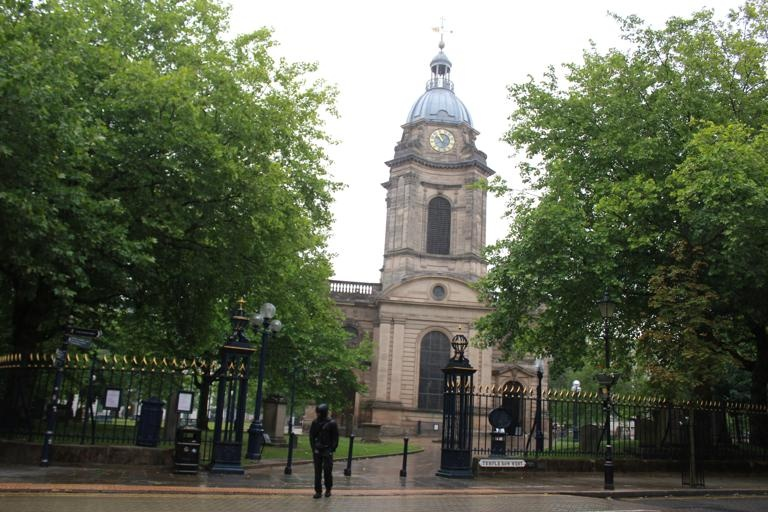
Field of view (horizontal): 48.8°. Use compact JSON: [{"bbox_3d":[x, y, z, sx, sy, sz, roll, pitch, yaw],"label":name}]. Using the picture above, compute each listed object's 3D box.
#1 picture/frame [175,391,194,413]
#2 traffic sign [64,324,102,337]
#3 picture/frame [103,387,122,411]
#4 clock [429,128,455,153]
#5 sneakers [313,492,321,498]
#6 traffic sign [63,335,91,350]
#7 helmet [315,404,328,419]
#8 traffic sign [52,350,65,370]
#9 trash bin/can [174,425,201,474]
[{"bbox_3d":[-7.219,5.264,30.552,0.814,0.950,0.737,4,-17,-15],"label":"picture/frame"},{"bbox_3d":[-10.779,2.658,30.179,1.183,0.425,0.924,7,-17,-18],"label":"traffic sign"},{"bbox_3d":[-9.723,5.109,30.261,0.534,0.770,0.690,8,-17,-18],"label":"picture/frame"},{"bbox_3d":[4.544,-9.113,67.107,1.679,1.556,0.169,-20,-7,0],"label":"clock"},{"bbox_3d":[-2.096,7.525,26.619,0.264,0.163,0.234,4,-16,-8],"label":"sneakers"},{"bbox_3d":[-10.913,3.070,30.401,0.713,0.381,1.236,4,-16,-9],"label":"traffic sign"},{"bbox_3d":[-2.079,5.042,27.370,0.502,0.458,0.377,19,-28,-37],"label":"helmet"},{"bbox_3d":[-11.447,3.604,29.789,0.344,0.688,0.396,8,-18,-20],"label":"traffic sign"},{"bbox_3d":[-6.863,6.724,29.362,0.847,1.574,0.538,6,-17,-12],"label":"trash bin/can"}]
